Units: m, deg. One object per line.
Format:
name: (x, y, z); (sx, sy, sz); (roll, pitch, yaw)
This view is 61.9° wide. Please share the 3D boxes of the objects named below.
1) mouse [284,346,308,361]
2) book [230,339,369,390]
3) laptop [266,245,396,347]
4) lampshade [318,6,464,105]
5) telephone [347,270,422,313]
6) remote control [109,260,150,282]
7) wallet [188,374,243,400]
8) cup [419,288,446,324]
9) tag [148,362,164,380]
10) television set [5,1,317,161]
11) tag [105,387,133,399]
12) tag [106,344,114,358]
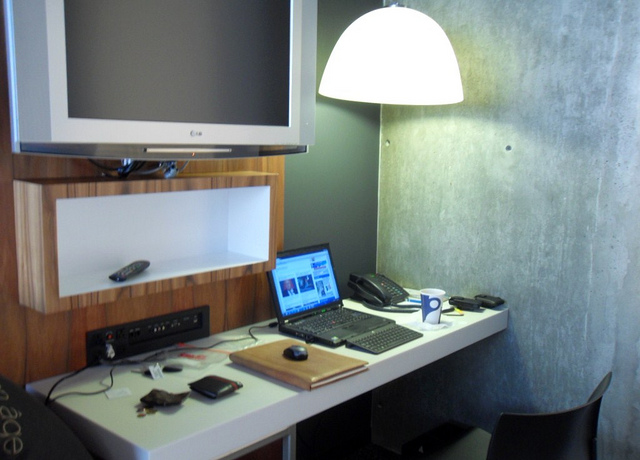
mouse: (-0.085, 0.443, 1.929); (0.068, 0.023, 0.042); (2, 5, 44)
book: (-0.098, 0.475, 1.915); (0.269, 0.029, 0.217); (12, 15, 44)
laptop: (0.044, 0.263, 2.296); (0.374, 0.336, 0.416); (5, 11, 42)
lampshade: (0.309, -0.729, 2.260); (0.474, 0.297, 0.475); (3, 13, 1)
telephone: (0.281, 0.293, 2.597); (0.250, 0.085, 0.181); (3, 7, 30)
remote control: (-0.657, 0.139, 1.851); (0.048, 0.037, 0.143); (18, 33, 23)
wallet: (-0.350, 0.521, 1.802); (0.133, 0.039, 0.136); (4, 10, 39)
cup: (0.484, 0.327, 2.341); (0.139, 0.144, 0.130); (1, 0, 0)
tag: (-0.574, 0.497, 1.873); (0.030, 0.041, 0.012); (-19, -19, -48)
television set: (-0.476, -0.530, 1.836); (1.029, 0.572, 0.215); (-9, 11, -40)
tag: (-0.666, 0.539, 1.764); (0.072, 0.007, 0.053); (-2, 9, -13)
tag: (-0.756, 0.436, 1.926); (0.009, 0.038, 0.027); (-7, 0, 30)
